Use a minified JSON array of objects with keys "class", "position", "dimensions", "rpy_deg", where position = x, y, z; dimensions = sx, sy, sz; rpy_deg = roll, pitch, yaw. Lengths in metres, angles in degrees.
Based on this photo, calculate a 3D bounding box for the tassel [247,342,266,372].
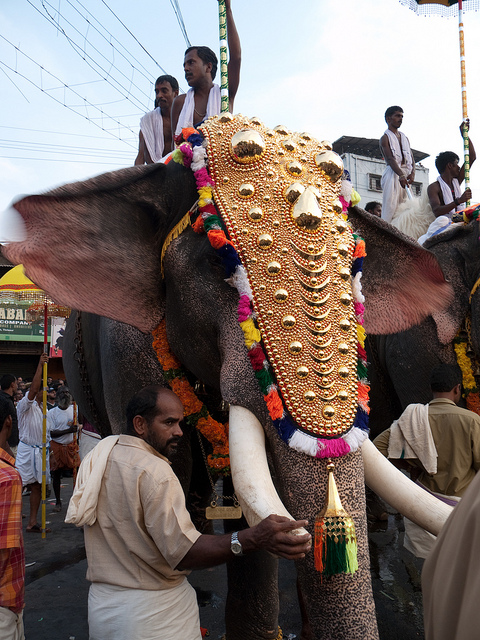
[{"class":"tassel","position":[0.046,0.105,1.776],"dimensions":[0.054,0.032,0.068],"rpy_deg":[-17,-14,-10]}]

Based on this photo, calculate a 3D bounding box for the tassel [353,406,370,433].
[{"class":"tassel","position":[0.333,0.268,1.756],"dimensions":[0.032,0.060,0.066],"rpy_deg":[-8,-3,34]}]

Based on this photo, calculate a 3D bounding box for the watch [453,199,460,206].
[{"class":"watch","position":[1.355,-0.737,4.023],"dimensions":[0.037,0.033,0.011],"rpy_deg":[14,-24,-35]}]

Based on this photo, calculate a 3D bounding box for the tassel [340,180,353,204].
[{"class":"tassel","position":[0.350,-0.432,2.139],"dimensions":[0.056,0.066,0.028],"rpy_deg":[-14,17,-41]}]

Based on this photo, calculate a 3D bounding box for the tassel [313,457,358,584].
[{"class":"tassel","position":[0.225,0.481,1.574],"dimensions":[0.099,0.253,0.182],"rpy_deg":[-5,3,8]}]

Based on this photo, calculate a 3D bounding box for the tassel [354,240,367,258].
[{"class":"tassel","position":[0.371,-0.224,2.011],"dimensions":[0.016,0.057,0.070],"rpy_deg":[-3,3,31]}]

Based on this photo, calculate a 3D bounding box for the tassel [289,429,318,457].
[{"class":"tassel","position":[0.164,0.317,1.663],"dimensions":[0.072,0.063,0.036],"rpy_deg":[-4,3,10]}]

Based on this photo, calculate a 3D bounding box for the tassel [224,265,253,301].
[{"class":"tassel","position":[-0.005,-0.110,1.860],"dimensions":[0.093,0.090,0.037],"rpy_deg":[-21,-23,-5]}]

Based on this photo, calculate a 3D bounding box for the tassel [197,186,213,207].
[{"class":"tassel","position":[-0.110,-0.388,2.019],"dimensions":[0.045,0.069,0.049],"rpy_deg":[-5,3,6]}]

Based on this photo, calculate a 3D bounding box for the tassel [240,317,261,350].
[{"class":"tassel","position":[0.028,0.041,1.858],"dimensions":[0.081,0.071,0.030],"rpy_deg":[16,-32,-5]}]

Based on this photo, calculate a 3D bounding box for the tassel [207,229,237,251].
[{"class":"tassel","position":[-0.047,-0.245,1.926],"dimensions":[0.059,0.072,0.028],"rpy_deg":[20,-49,-37]}]

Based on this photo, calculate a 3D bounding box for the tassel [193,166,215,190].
[{"class":"tassel","position":[-0.119,-0.457,2.062],"dimensions":[0.042,0.074,0.074],"rpy_deg":[-7,3,-29]}]

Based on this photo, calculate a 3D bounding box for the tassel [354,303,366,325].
[{"class":"tassel","position":[0.350,-0.024,1.934],"dimensions":[0.031,0.052,0.047],"rpy_deg":[1,-3,1]}]

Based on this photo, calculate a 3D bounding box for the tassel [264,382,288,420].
[{"class":"tassel","position":[0.101,0.212,1.702],"dimensions":[0.056,0.079,0.039],"rpy_deg":[3,-25,-5]}]

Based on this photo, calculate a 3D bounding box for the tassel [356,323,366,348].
[{"class":"tassel","position":[0.353,0.046,1.880],"dimensions":[0.021,0.069,0.043],"rpy_deg":[-5,3,8]}]

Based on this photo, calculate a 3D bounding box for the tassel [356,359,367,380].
[{"class":"tassel","position":[0.342,0.137,1.823],"dimensions":[0.022,0.052,0.041],"rpy_deg":[-5,3,11]}]

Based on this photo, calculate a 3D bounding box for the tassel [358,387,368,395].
[{"class":"tassel","position":[0.341,0.196,1.784],"dimensions":[0.015,0.019,0.006],"rpy_deg":[-16,-30,-41]}]
